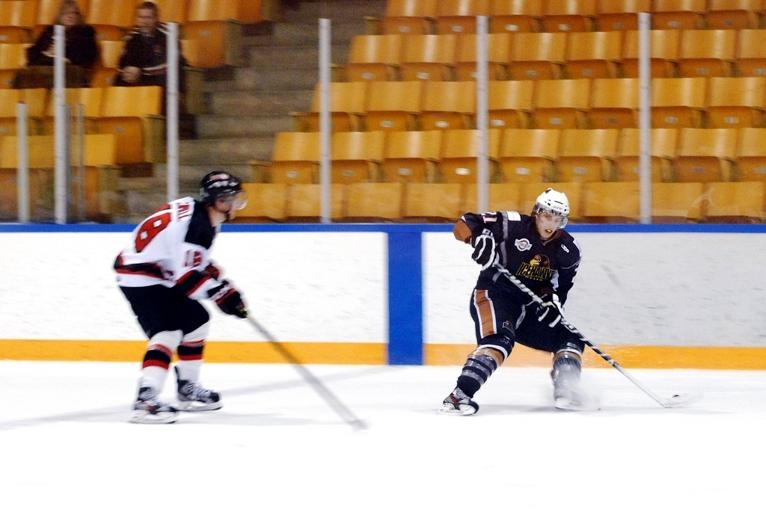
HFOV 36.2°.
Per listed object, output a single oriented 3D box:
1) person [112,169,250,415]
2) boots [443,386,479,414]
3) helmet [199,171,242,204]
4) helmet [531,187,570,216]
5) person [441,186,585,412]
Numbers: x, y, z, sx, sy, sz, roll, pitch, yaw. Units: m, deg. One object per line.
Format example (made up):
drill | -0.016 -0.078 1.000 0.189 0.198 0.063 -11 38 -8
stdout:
person | -1.201 0.257 7.075 0.790 1.489 0.531 -5 16 -13
boots | 0.490 0.894 7.113 0.249 0.134 0.123 -2 -5 6
helmet | -0.974 -0.415 7.106 0.249 0.175 0.172 -20 11 3
helmet | 1.029 -0.322 7.243 0.194 0.193 0.213 9 -3 0
person | 0.865 0.264 7.564 1.127 1.452 0.850 14 -34 -7
